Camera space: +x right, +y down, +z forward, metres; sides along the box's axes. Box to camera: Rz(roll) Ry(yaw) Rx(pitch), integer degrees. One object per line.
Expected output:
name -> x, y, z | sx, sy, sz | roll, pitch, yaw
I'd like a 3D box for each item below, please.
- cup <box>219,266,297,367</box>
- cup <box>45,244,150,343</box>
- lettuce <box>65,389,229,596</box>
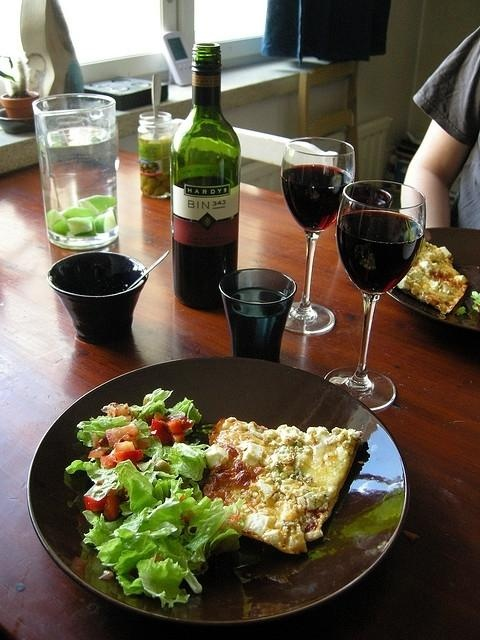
cup -> 0.007, 0.003, 0.676 | 0.116, 0.136, 0.108 | 1, 35, -1
cup -> -0.185, -0.017, 0.735 | 0.133, 0.090, 0.135 | 5, 35, -3
lettuce -> -0.069, 0.142, 0.429 | 0.101, 0.042, 0.189 | -6, 26, -7
